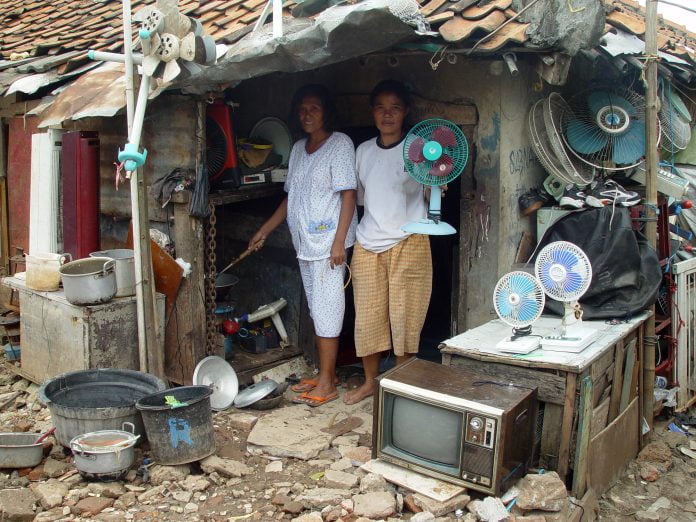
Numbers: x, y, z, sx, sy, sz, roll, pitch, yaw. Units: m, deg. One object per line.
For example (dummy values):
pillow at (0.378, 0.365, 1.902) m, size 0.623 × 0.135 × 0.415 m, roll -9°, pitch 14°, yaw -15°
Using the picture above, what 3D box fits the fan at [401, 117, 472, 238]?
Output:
fan at (0.747, -0.715, 5.868) m, size 0.517 × 1.041 × 0.432 m, roll 3°, pitch 5°, yaw 36°

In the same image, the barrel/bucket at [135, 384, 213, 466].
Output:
barrel/bucket at (-1.248, 1.181, 5.387) m, size 0.519 × 0.418 × 0.523 m, roll -8°, pitch 13°, yaw 2°

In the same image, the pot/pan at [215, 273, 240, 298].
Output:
pot/pan at (-1.147, 0.260, 6.808) m, size 0.197 × 0.265 × 0.365 m, roll -2°, pitch 8°, yaw -8°

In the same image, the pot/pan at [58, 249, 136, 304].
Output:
pot/pan at (-2.106, 0.138, 6.131) m, size 0.435 × 0.403 × 0.637 m, roll 5°, pitch 10°, yaw 33°

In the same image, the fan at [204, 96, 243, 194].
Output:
fan at (-1.127, -1.004, 6.404) m, size 0.322 × 0.762 × 0.314 m, roll -5°, pitch 16°, yaw -21°

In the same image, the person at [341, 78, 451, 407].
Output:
person at (0.525, -0.153, 6.507) m, size 0.889 × 2.601 × 0.908 m, roll 2°, pitch 3°, yaw 29°

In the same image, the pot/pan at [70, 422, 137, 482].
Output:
pot/pan at (-1.773, 1.351, 5.190) m, size 0.334 × 0.223 × 0.375 m, roll 3°, pitch 5°, yaw 29°

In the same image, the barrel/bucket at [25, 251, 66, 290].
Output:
barrel/bucket at (-2.672, 0.096, 6.348) m, size 0.276 × 0.267 × 0.187 m, roll 6°, pitch -3°, yaw 16°

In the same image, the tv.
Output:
tv at (0.822, 1.095, 5.126) m, size 0.949 × 0.819 × 0.916 m, roll 12°, pitch 17°, yaw 34°
